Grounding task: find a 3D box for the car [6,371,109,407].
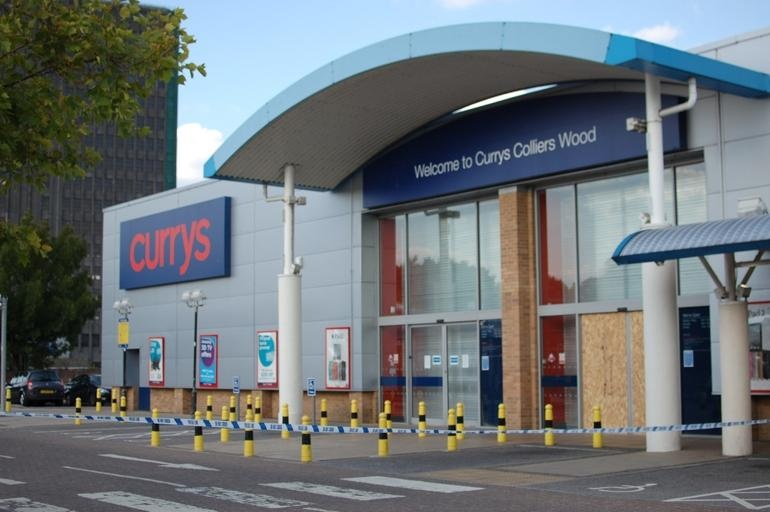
[{"bbox_3d":[-13.996,5.707,50.789,4.249,1.642,1.675,-4,-11,8],"label":"car"}]
